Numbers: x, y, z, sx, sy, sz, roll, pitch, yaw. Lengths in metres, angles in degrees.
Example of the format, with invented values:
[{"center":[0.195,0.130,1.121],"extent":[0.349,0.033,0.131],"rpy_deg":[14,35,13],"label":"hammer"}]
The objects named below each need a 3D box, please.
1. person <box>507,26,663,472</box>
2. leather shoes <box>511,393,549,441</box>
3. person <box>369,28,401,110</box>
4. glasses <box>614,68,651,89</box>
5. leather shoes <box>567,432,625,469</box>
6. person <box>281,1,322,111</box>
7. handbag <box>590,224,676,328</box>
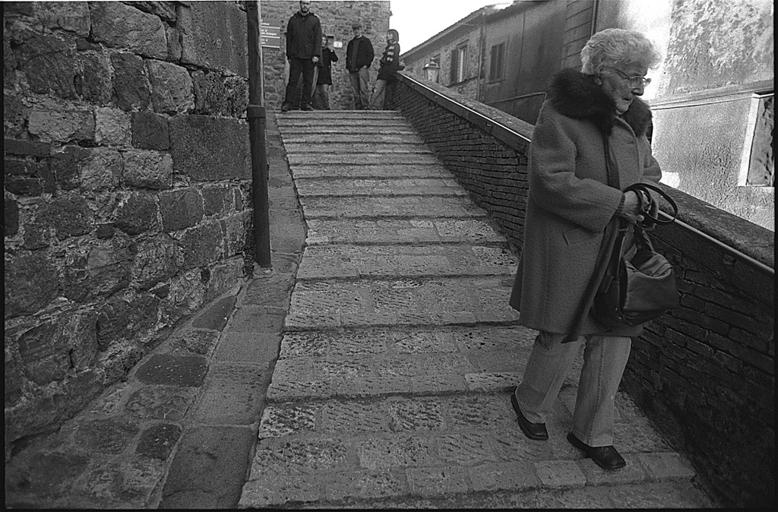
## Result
[{"center":[1.143,-0.002,2.894],"extent":[0.781,2.495,0.797],"rpy_deg":[6,23,15],"label":"person"},{"center":[0.900,1.079,3.241],"extent":[0.137,0.107,0.327],"rpy_deg":[1,41,-32],"label":"leather shoes"},{"center":[-0.088,-3.998,10.457],"extent":[0.685,1.642,1.279],"rpy_deg":[-1,22,-2],"label":"person"},{"center":[1.349,-1.000,2.712],"extent":[0.126,0.037,0.118],"rpy_deg":[-11,48,-41],"label":"glasses"},{"center":[1.307,1.253,3.041],"extent":[0.138,0.128,0.359],"rpy_deg":[25,-12,-25],"label":"leather shoes"},{"center":[-1.728,-3.864,9.483],"extent":[0.806,1.994,0.595],"rpy_deg":[-5,23,-10],"label":"person"},{"center":[1.369,0.176,2.797],"extent":[0.415,0.541,0.330],"rpy_deg":[0,22,2],"label":"handbag"}]
